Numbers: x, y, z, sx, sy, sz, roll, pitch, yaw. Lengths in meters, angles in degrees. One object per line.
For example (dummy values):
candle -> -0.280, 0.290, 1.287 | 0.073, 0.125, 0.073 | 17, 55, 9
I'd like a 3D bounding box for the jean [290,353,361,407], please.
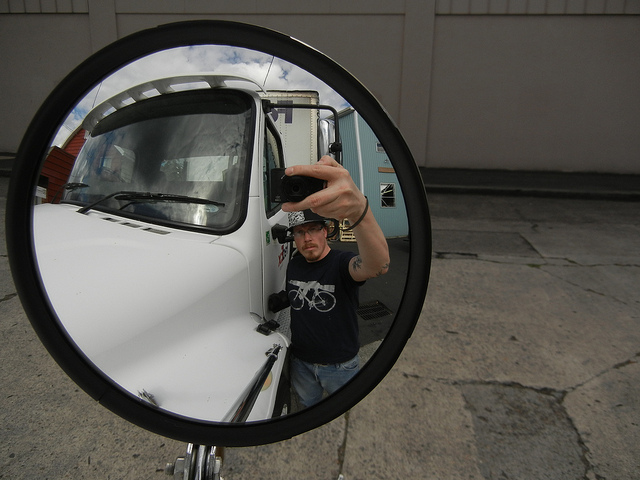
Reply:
jean -> 0.009, 0.380, 1.010 | 0.196, 0.121, 0.097 | 2, 12, 6
